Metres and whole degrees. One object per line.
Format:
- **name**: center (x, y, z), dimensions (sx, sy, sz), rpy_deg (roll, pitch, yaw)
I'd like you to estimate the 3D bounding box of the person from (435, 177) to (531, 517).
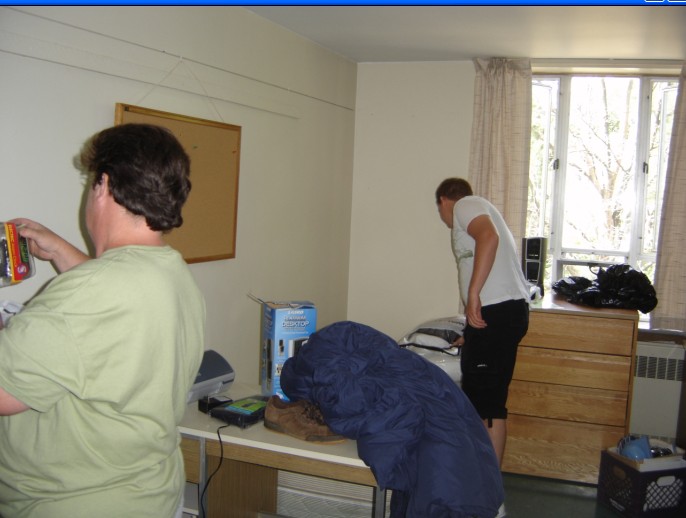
- **person**: center (0.739, 0.460, 3.176), dimensions (0.473, 1.826, 0.379), rpy_deg (2, 5, 35)
